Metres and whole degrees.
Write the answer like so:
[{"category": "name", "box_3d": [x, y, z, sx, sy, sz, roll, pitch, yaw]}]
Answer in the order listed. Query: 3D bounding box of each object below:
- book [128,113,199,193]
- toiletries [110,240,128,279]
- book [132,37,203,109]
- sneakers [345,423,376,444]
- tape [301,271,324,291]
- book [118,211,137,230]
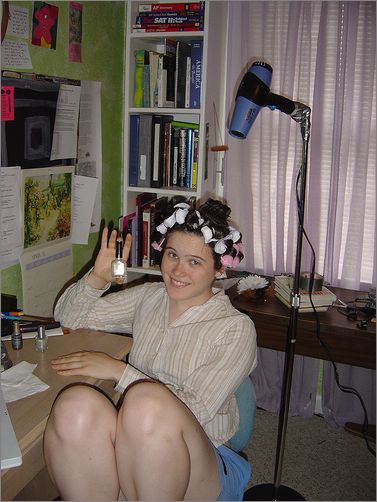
[{"category": "book", "box_3d": [-0.103, -0.487, 1.948, 0.284, 0.468, 0.438, 6, 14, 12]}, {"category": "toiletries", "box_3d": [-0.197, 0.016, 1.063, 0.043, 0.131, 0.020, -1, 32, -12]}, {"category": "book", "box_3d": [-0.064, -0.804, 1.868, 0.269, 0.437, 0.411, 10, 20, 24]}, {"category": "sneakers", "box_3d": [0.878, 0.914, 1.921, 0.140, 0.044, 0.083, 10, 12, 42]}, {"category": "tape", "box_3d": [0.573, 0.136, 1.733, 0.078, 0.065, 0.088, 5, 13, 10]}, {"category": "book", "box_3d": [-0.295, -0.151, 1.820, 0.021, 0.078, 0.096, 10, 12, 21]}]
